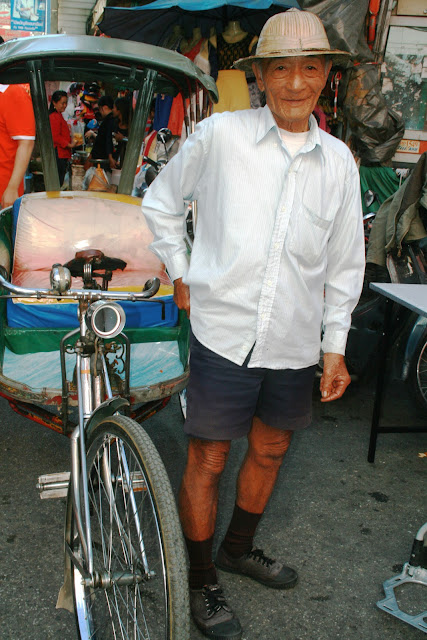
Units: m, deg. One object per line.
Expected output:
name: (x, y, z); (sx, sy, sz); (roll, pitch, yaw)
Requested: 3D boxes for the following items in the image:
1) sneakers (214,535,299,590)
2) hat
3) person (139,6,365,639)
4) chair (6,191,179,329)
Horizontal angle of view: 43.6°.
sneakers: (0.195, 1.026, 2.251); (0.387, 0.140, 0.136); (10, 20, 11)
hat: (0.233, -0.899, 1.652); (0.315, 0.130, 0.302); (-8, 31, -7)
person: (0.139, 0.080, 1.827); (0.767, 2.123, 0.466); (2, 15, -8)
chair: (-0.864, -0.276, 3.529); (1.029, 0.586, 0.911); (-2, 51, -17)
